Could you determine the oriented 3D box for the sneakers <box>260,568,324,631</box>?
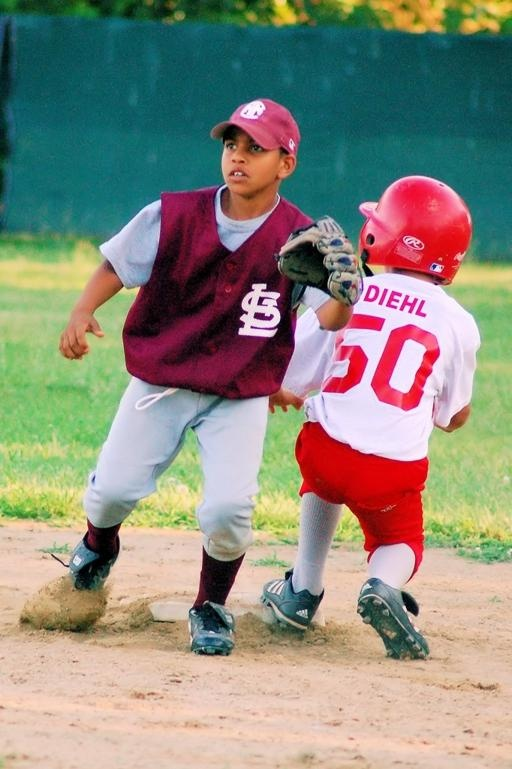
[{"bbox_3d":[0.089,0.707,3.213,0.108,0.129,0.277,30,-1,-18],"label":"sneakers"}]

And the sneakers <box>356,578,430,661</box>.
[{"bbox_3d":[0.396,0.684,2.789,0.130,0.212,0.256,7,2,36],"label":"sneakers"}]

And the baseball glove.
[{"bbox_3d":[0.168,-0.321,2.497,0.136,0.184,0.256,-7,30,-28],"label":"baseball glove"}]

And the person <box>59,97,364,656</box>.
[{"bbox_3d":[-0.141,-0.030,2.816,0.780,1.314,0.302,6,2,11],"label":"person"}]
